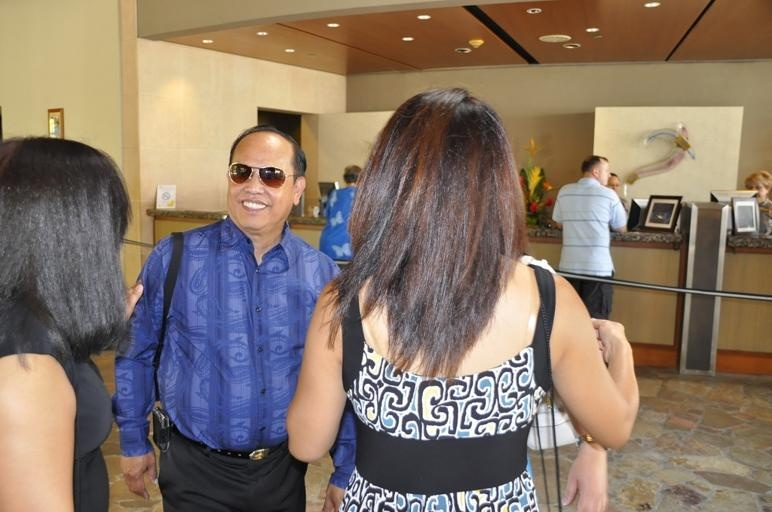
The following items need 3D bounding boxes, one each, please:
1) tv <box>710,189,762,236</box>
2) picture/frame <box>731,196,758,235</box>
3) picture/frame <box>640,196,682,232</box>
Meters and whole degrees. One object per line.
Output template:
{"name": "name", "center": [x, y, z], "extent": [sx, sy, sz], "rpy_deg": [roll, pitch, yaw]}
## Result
{"name": "tv", "center": [3.505, -0.424, 5.622], "extent": [0.469, 0.480, 0.256], "rpy_deg": [-1, -2, -9]}
{"name": "picture/frame", "center": [3.592, -0.394, 5.624], "extent": [0.360, 0.447, 0.050], "rpy_deg": [2, -7, -9]}
{"name": "picture/frame", "center": [2.824, -0.421, 5.747], "extent": [0.031, 0.394, 0.365], "rpy_deg": [13, -1, -32]}
